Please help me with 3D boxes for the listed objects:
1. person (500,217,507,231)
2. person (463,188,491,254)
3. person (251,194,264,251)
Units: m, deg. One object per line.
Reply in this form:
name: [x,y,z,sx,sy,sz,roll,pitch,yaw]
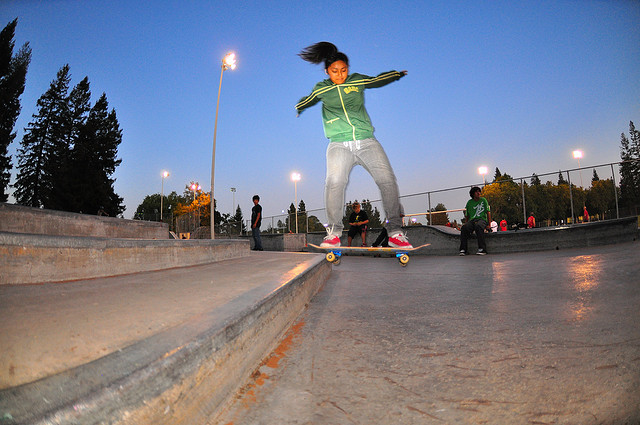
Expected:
person: [10.159,0.572,21.040,0.289,0.577,1.057,0,6,25]
person: [4.319,0.238,10.629,0.668,1.834,0.622,1,7,35]
person: [-2.134,0.357,13.069,0.319,1.949,1.202,-4,5,-9]
